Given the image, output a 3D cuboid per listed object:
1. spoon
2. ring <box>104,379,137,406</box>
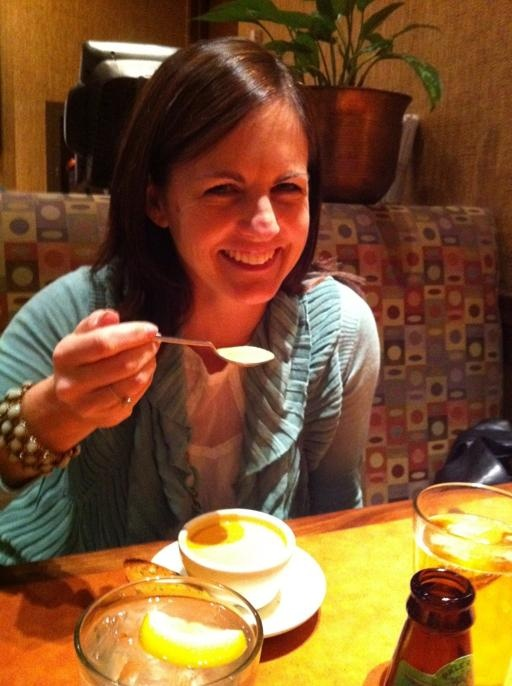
[{"bbox_3d":[-0.051,0.017,0.928,0.150,0.022,0.077,11,-2,-16],"label":"spoon"},{"bbox_3d":[-0.169,0.058,0.727,0.024,0.025,0.028,-13,42,-2],"label":"ring"}]
